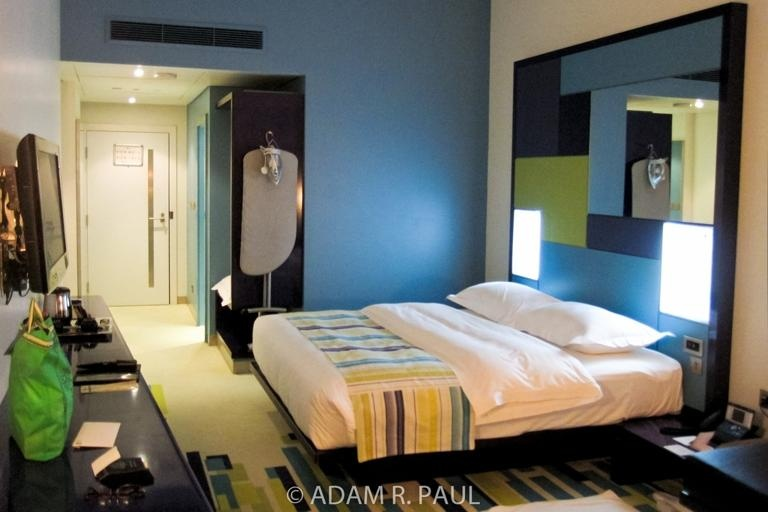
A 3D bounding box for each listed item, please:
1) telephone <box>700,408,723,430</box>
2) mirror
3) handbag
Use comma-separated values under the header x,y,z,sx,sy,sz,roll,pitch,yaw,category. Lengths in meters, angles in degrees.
x,y,z,sx,sy,sz,roll,pitch,yaw,category
2.203,1.106,3.672,0.222,0.115,0.070,-4,11,-32,telephone
2.128,-0.715,3.993,0.079,1.075,0.929,-3,8,-19,mirror
-1.349,0.546,2.146,0.210,0.484,0.181,-4,11,-33,handbag
